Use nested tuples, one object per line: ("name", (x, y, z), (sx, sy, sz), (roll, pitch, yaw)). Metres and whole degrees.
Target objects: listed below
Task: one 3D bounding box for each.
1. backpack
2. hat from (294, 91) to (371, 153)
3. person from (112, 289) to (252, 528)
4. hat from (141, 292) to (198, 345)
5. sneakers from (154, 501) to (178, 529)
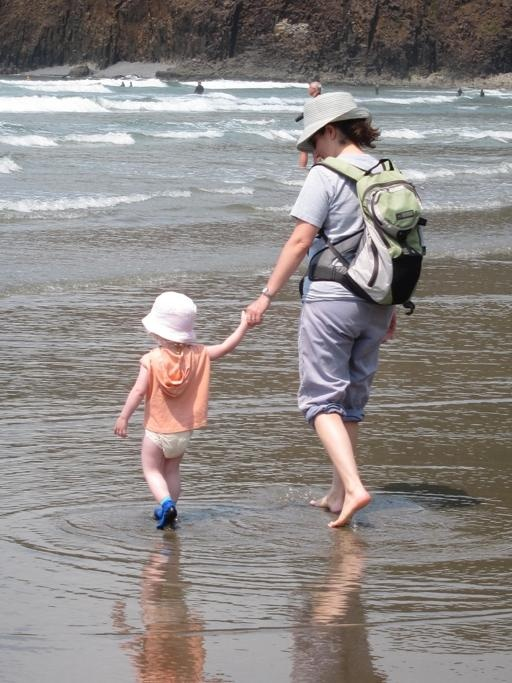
("backpack", (0.404, -0.380, 3.533), (0.329, 0.512, 0.335), (-3, 13, -20))
("hat", (0.251, -0.820, 3.739), (0.221, 0.112, 0.252), (-12, -8, -46))
("person", (-0.281, 0.240, 3.605), (0.398, 0.803, 0.315), (10, 15, 32))
("hat", (-0.308, -0.088, 3.666), (0.194, 0.098, 0.206), (3, 18, -26))
("sneakers", (-0.312, 0.592, 3.547), (0.071, 0.114, 0.141), (1, 11, -2))
